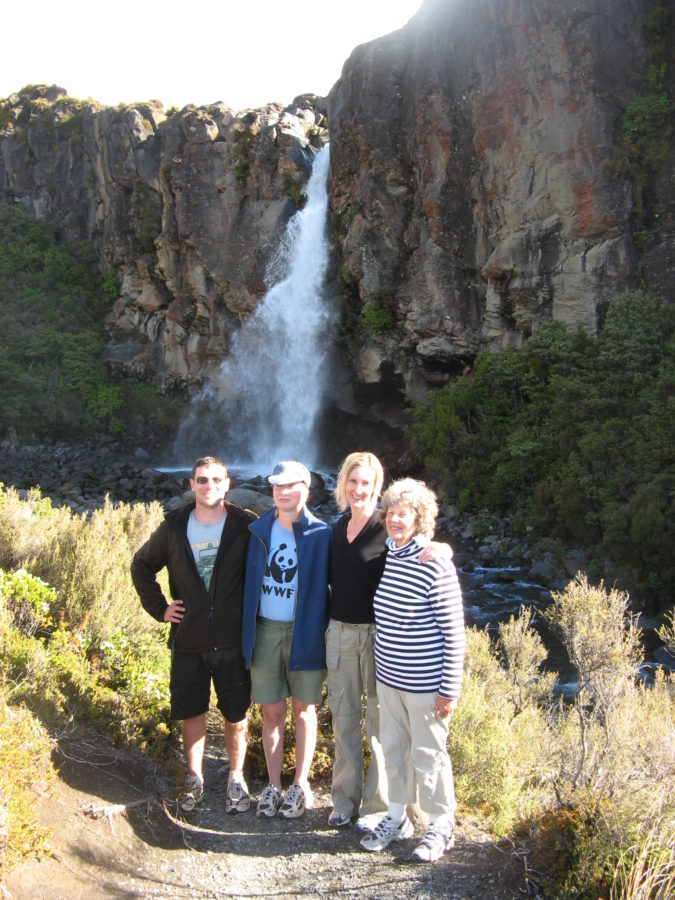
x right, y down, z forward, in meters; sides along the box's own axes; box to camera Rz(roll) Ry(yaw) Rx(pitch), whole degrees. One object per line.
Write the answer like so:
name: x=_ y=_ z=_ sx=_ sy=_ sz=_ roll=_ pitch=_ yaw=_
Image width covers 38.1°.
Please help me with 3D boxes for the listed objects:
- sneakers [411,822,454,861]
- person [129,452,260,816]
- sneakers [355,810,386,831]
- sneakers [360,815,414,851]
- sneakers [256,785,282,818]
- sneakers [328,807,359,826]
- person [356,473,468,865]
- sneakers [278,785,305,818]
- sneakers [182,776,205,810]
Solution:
sneakers: x=0.554 y=2.269 z=5.636 sx=0.111 sy=0.142 sz=0.337 roll=-9 pitch=-13 yaw=27
person: x=-0.889 y=1.271 z=6.224 sx=0.726 sy=1.998 sz=0.465 roll=-1 pitch=6 yaw=-6
sneakers: x=0.187 y=2.247 z=5.917 sx=0.074 sy=0.088 sz=0.209 roll=-20 pitch=-21 yaw=33
sneakers: x=0.293 y=2.260 z=5.866 sx=0.372 sy=0.178 sz=0.126 roll=-6 pitch=9 yaw=-38
sneakers: x=-0.431 y=2.207 z=6.122 sx=0.093 sy=0.109 sz=0.236 roll=3 pitch=-8 yaw=6
sneakers: x=0.013 y=2.265 z=6.020 sx=0.077 sy=0.090 sz=0.213 roll=-6 pitch=-24 yaw=18
person: x=0.432 y=1.260 z=5.729 sx=0.583 sy=2.150 sz=0.439 roll=0 pitch=6 yaw=7
sneakers: x=-0.292 y=2.196 z=6.083 sx=0.093 sy=0.115 sz=0.255 roll=4 pitch=-5 yaw=6
sneakers: x=-0.912 y=2.162 z=6.165 sx=0.113 sy=0.203 sz=0.074 roll=10 pitch=-7 yaw=6
